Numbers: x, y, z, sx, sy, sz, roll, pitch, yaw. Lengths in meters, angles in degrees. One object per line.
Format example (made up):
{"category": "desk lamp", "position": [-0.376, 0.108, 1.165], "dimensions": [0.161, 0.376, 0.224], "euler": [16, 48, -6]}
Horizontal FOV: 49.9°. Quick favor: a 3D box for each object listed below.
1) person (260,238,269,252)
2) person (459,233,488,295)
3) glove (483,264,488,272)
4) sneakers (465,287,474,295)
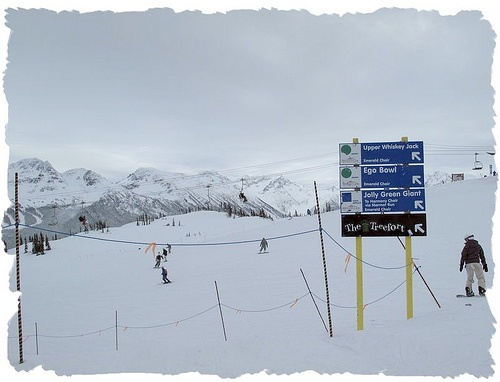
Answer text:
{"category": "person", "position": [0.957, 4.246, 42.384], "dimensions": [0.622, 1.191, 1.638], "euler": [-5, 9, -2]}
{"category": "person", "position": [10.311, 3.510, 24.968], "dimensions": [1.088, 3.021, 0.946], "euler": [-1, 10, 26]}
{"category": "glove", "position": [10.654, 3.488, 24.409], "dimensions": [0.100, 0.363, 0.338], "euler": [7, -10, -18]}
{"category": "sneakers", "position": [10.148, 4.679, 25.055], "dimensions": [0.199, 0.653, 0.233], "euler": [-14, -2, -24]}
